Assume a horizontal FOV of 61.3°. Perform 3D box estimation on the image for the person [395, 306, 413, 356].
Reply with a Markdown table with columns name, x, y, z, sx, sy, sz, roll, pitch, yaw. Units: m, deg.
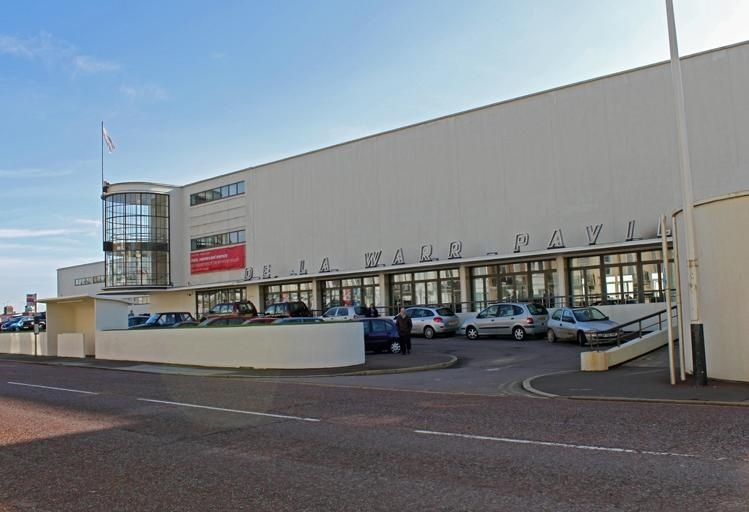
| name | x | y | z | sx | sy | sz | roll | pitch | yaw |
| --- | --- | --- | --- | --- | --- | --- | --- | --- | --- |
| person | 1.239 | 3.190 | 27.156 | 0.616 | 1.914 | 1.199 | -4 | -5 | 1 |

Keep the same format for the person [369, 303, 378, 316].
| name | x | y | z | sx | sy | sz | roll | pitch | yaw |
| --- | --- | --- | --- | --- | --- | --- | --- | --- | --- |
| person | -0.069 | 3.178 | 37.821 | 0.586 | 0.979 | 0.371 | -4 | 7 | -7 |
